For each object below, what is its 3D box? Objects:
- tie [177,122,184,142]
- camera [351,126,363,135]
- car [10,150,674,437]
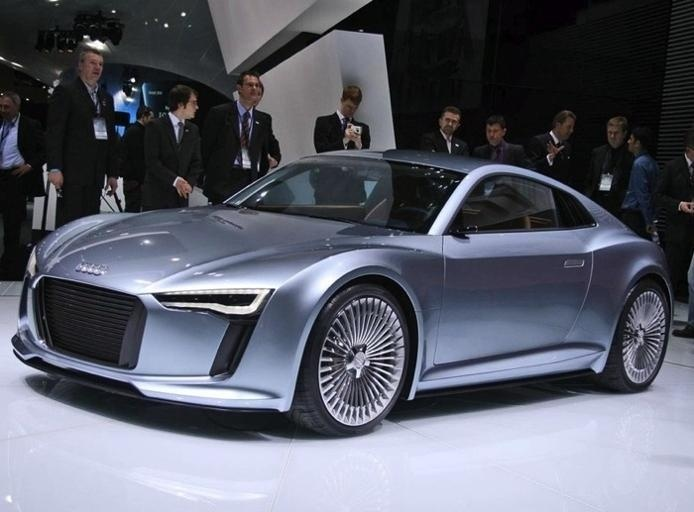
[{"bbox_3d":[-2.021,-1.500,5.518,0.043,0.201,0.107,8,2,29],"label":"tie"},{"bbox_3d":[0.102,-1.620,5.884,0.106,0.123,0.191,5,1,10],"label":"camera"},{"bbox_3d":[0.356,0.214,3.060,3.579,1.231,2.116,3,2,-36],"label":"car"}]
